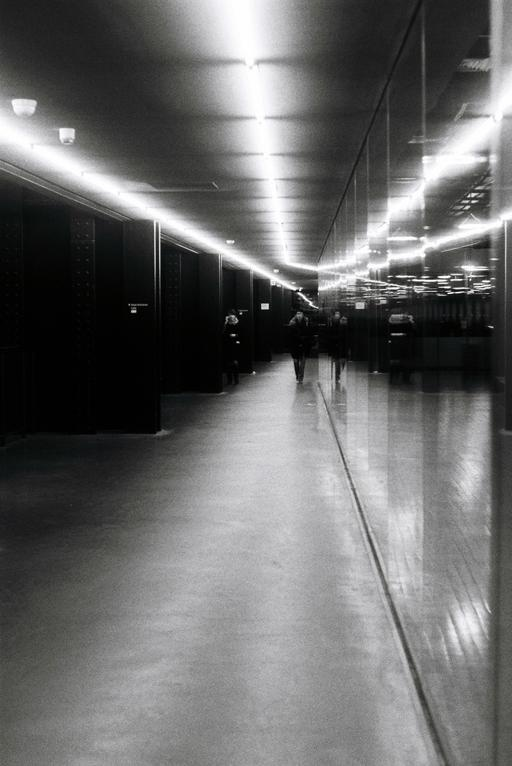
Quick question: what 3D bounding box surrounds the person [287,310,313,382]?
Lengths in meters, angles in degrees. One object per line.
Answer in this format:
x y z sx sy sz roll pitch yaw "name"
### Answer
1.538 -1.224 20.306 0.706 2.759 0.728 0 -26 7 "person"
